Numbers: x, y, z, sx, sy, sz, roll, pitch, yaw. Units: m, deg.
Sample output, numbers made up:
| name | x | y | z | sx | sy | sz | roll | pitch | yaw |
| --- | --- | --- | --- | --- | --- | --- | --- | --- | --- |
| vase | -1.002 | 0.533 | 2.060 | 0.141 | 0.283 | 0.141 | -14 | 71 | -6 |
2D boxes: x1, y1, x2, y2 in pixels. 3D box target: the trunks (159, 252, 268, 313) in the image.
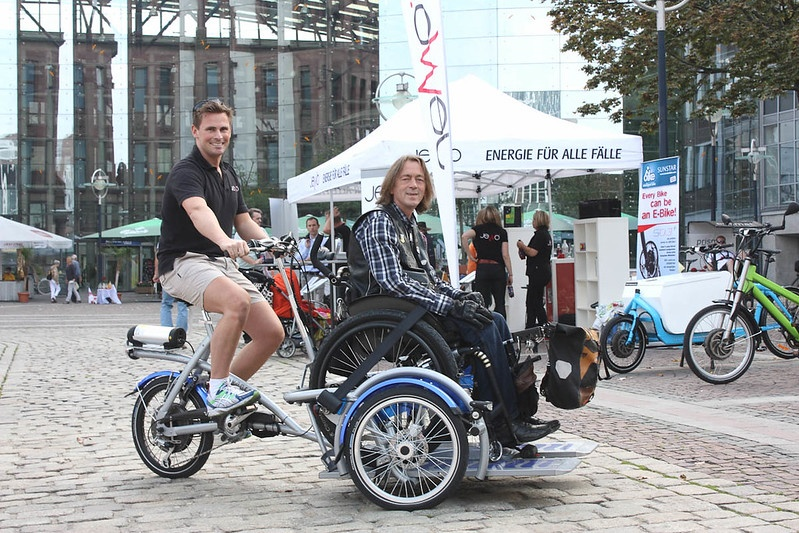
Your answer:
| name | x | y | z | sx | sy | sz | roll | pitch | yaw |
| --- | --- | --- | --- | --- | --- | --- | --- | --- | --- |
| trunks | -1.734 | 0.116 | 7.955 | 0.710 | 0.356 | 0.574 | 6 | -7 | 24 |

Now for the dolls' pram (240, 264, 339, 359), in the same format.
| name | x | y | z | sx | sy | sz | roll | pitch | yaw |
| --- | --- | --- | --- | --- | --- | --- | --- | --- | --- |
| dolls' pram | -1.680 | 0.758 | 13.942 | 1.902 | 1.779 | 1.187 | -3 | 3 | -5 |

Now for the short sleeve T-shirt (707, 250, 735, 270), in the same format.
| name | x | y | z | sx | sy | sz | roll | pitch | yaw |
| --- | --- | --- | --- | --- | --- | --- | --- | --- | --- |
| short sleeve T-shirt | 6.908 | -0.125 | 18.808 | 0.542 | 0.285 | 0.503 | -9 | 39 | 23 |

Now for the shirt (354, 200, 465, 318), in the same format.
| name | x | y | z | sx | sy | sz | roll | pitch | yaw |
| --- | --- | --- | --- | --- | --- | --- | --- | --- | --- |
| shirt | -0.028 | -0.004 | 8.132 | 0.956 | 1.160 | 0.933 | -13 | -3 | 13 |

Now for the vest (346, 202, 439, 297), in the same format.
| name | x | y | z | sx | sy | sz | roll | pitch | yaw |
| --- | --- | --- | --- | --- | --- | --- | --- | --- | --- |
| vest | 0.113 | -0.065 | 7.919 | 0.856 | 1.034 | 0.768 | -2 | -5 | 18 |

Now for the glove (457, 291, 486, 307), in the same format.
| name | x | y | z | sx | sy | sz | roll | pitch | yaw |
| --- | --- | --- | --- | --- | --- | --- | --- | --- | --- |
| glove | 0.646 | 0.276 | 7.831 | 0.162 | 0.073 | 0.172 | 2 | -5 | 18 |

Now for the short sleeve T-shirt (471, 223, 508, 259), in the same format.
| name | x | y | z | sx | sy | sz | roll | pitch | yaw |
| --- | --- | --- | --- | --- | --- | --- | --- | --- | --- |
| short sleeve T-shirt | 1.550 | -0.421 | 15.011 | 0.574 | 0.574 | 0.317 | 3 | -9 | -18 |

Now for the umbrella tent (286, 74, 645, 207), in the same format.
| name | x | y | z | sx | sy | sz | roll | pitch | yaw |
| --- | --- | --- | --- | --- | --- | --- | --- | --- | --- |
| umbrella tent | 1.392 | -1.961 | 14.562 | 4.300 | 1.769 | 4.278 | -2 | -4 | -16 |

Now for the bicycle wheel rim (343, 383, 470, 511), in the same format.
| name | x | y | z | sx | sy | sz | roll | pitch | yaw |
| --- | --- | --- | --- | --- | --- | --- | --- | --- | --- |
| bicycle wheel rim | 0.070 | 1.483 | 7.335 | 0.778 | 0.778 | 0.131 | -29 | -7 | 6 |

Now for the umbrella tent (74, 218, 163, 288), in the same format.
| name | x | y | z | sx | sy | sz | roll | pitch | yaw |
| --- | --- | --- | --- | --- | --- | --- | --- | --- | --- |
| umbrella tent | -13.637 | -0.495 | 42.260 | 3.693 | 2.429 | 3.415 | -1 | -5 | -14 |
